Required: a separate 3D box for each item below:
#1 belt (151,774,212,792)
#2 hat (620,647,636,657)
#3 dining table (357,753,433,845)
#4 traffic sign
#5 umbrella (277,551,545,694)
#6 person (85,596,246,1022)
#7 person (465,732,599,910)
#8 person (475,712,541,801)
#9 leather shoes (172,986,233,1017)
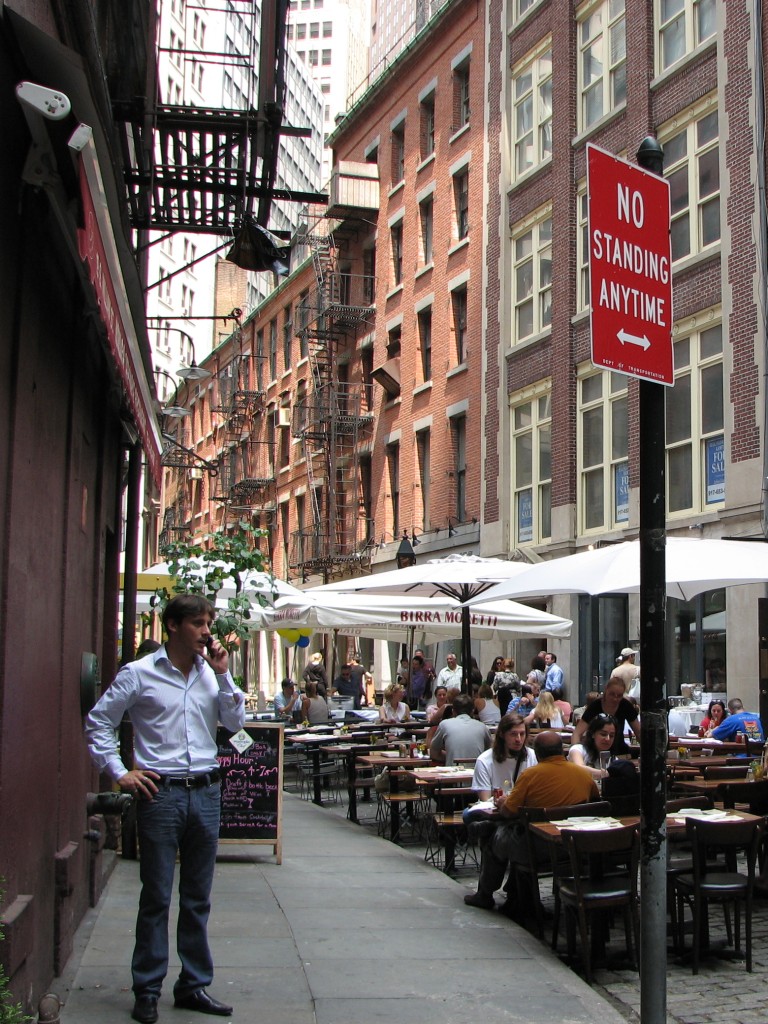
[{"bbox_3d":[-0.849,1.162,4.930,0.087,0.073,0.301,-7,-14,39],"label":"belt"},{"bbox_3d":[4.495,2.554,20.858,0.227,0.142,0.355,0,-8,-1],"label":"hat"},{"bbox_3d":[0.124,3.220,13.375,1.142,0.683,1.260,2,-15,-5],"label":"dining table"},{"bbox_3d":[0.855,-0.882,3.990,0.193,0.910,0.678,-4,-11,28],"label":"traffic sign"},{"bbox_3d":[0.750,1.351,15.955,1.999,1.350,2.175,-1,-1,-12],"label":"umbrella"},{"bbox_3d":[-0.915,1.264,4.904,0.408,1.820,0.778,-7,-13,43],"label":"person"},{"bbox_3d":[1.079,2.295,8.537,0.679,1.527,0.875,5,2,-39],"label":"person"},{"bbox_3d":[1.032,2.052,9.478,0.479,0.884,0.495,3,12,-21],"label":"person"},{"bbox_3d":[-0.802,2.167,5.030,0.296,0.143,0.112,6,-10,1],"label":"leather shoes"}]
